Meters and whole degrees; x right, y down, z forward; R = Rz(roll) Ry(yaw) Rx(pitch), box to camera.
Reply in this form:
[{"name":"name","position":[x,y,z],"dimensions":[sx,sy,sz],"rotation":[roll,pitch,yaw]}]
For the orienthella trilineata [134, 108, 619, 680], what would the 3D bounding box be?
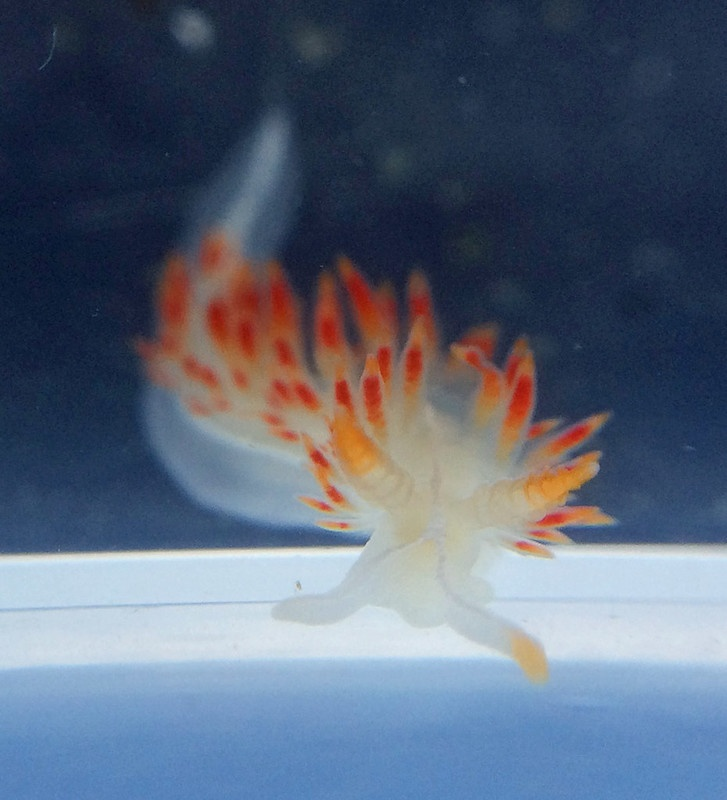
[{"name":"orienthella trilineata","position":[0.009,0.025,1.251],"dimensions":[0.557,0.253,0.368],"rotation":[34,62,16]}]
